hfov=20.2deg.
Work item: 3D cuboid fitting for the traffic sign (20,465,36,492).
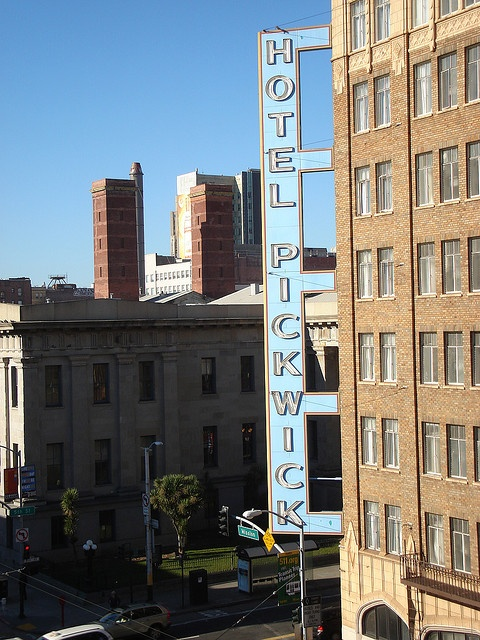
[{"bbox_3d":[-11.297,8.538,71.752,0.615,1.393,2.691,-3,-4,-6],"label":"traffic sign"}]

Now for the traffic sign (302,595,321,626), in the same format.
[{"bbox_3d":[2.897,11.906,55.238,1.077,1.823,0.180,3,-5,-45],"label":"traffic sign"}]

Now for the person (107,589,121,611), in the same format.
[{"bbox_3d":[-6.101,13.514,64.970,0.574,1.836,0.511,0,-11,-10],"label":"person"}]
